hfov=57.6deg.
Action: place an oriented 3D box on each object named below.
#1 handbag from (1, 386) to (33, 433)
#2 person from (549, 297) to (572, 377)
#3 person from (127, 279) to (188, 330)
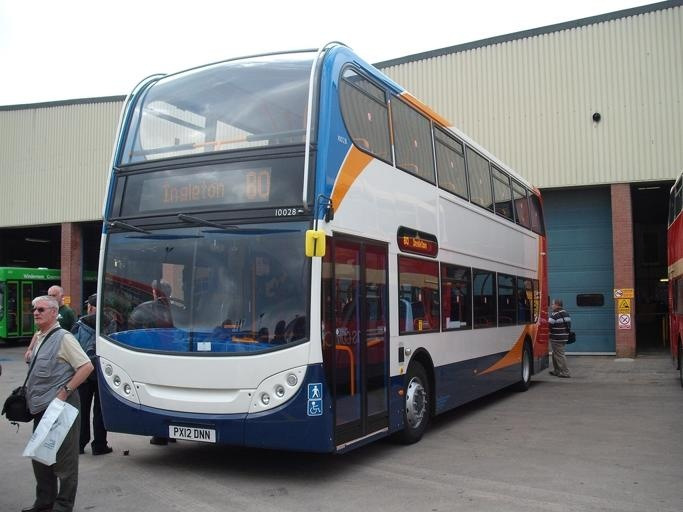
[{"bbox_3d":[-3.484,1.604,6.688,0.283,0.393,0.307,4,-6,-30],"label":"handbag"},{"bbox_3d":[6.404,2.408,18.210,0.616,2.245,0.978,-1,-5,19],"label":"person"},{"bbox_3d":[-2.426,0.693,8.402,0.472,0.855,0.784,-6,-7,45],"label":"person"}]
